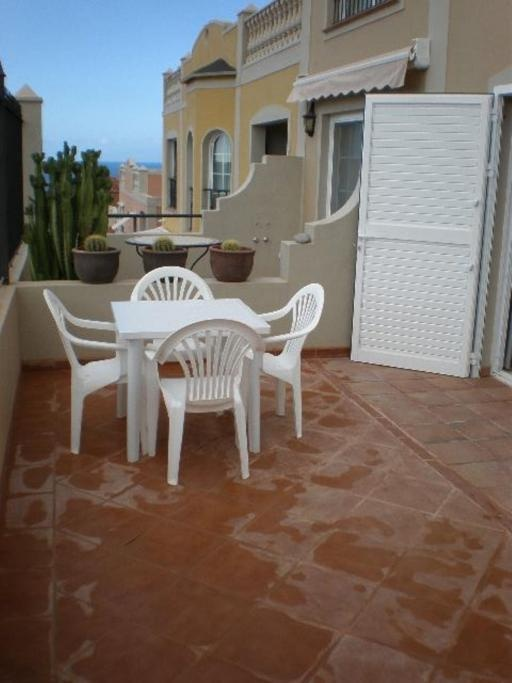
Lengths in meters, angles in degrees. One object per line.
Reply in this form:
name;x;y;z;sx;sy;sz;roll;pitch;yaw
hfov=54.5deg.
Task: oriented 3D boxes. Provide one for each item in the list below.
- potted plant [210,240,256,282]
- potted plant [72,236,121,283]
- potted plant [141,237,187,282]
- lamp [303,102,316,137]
potted plant;-0.290;-0.922;5.840;0.388;0.387;0.455;1;13;-5
potted plant;-1.739;-0.881;5.390;0.386;0.571;0.468;3;4;10
potted plant;-1.076;-1.001;5.771;0.436;0.572;0.535;0;14;-2
lamp;0.821;-3.446;7.678;0.194;0.506;0.357;1;6;7
